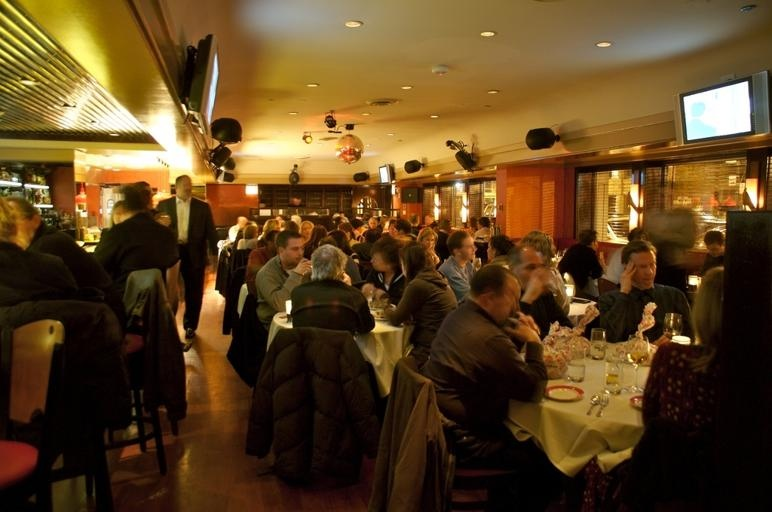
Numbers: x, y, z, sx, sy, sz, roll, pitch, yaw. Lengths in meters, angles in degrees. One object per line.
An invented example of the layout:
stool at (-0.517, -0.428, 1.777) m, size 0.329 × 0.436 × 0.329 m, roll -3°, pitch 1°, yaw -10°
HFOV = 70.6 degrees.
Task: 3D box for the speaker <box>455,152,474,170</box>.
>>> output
speaker at (1.610, -1.894, 10.853) m, size 0.362 × 0.430 × 0.457 m, roll 11°, pitch 18°, yaw 42°

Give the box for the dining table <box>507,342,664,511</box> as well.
dining table at (1.188, 0.927, 3.206) m, size 0.690 × 0.343 × 0.797 m, roll 11°, pitch 19°, yaw 41°

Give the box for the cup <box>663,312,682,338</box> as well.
cup at (1.918, 0.456, 3.644) m, size 0.104 × 0.159 × 0.155 m, roll 5°, pitch 15°, yaw 27°

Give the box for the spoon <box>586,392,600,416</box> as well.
spoon at (1.158, 0.825, 3.038) m, size 0.044 × 0.044 × 0.257 m, roll 27°, pitch 20°, yaw 11°

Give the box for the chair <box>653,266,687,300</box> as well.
chair at (2.621, 0.247, 5.033) m, size 0.175 × 0.176 × 0.321 m, roll 18°, pitch 8°, yaw -15°

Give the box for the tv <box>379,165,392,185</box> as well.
tv at (-0.015, -2.422, 16.160) m, size 0.345 × 0.577 × 0.676 m, roll -3°, pitch -3°, yaw -13°

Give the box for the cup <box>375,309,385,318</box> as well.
cup at (-0.056, 0.513, 4.841) m, size 0.061 × 0.036 × 0.082 m, roll -1°, pitch 2°, yaw 6°

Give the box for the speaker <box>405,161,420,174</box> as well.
speaker at (0.649, -2.237, 13.508) m, size 0.358 × 0.270 × 0.265 m, roll -3°, pitch -37°, yaw -9°

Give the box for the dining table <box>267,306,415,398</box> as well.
dining table at (-0.139, 0.753, 4.745) m, size 0.797 × 0.591 × 0.818 m, roll 1°, pitch -1°, yaw 6°

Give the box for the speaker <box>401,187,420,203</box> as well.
speaker at (0.717, -1.782, 16.187) m, size 0.687 × 0.505 × 0.386 m, roll 0°, pitch -4°, yaw 2°

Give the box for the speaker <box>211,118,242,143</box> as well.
speaker at (-2.104, -1.666, 7.291) m, size 0.373 × 0.281 × 0.365 m, roll -6°, pitch 19°, yaw -39°

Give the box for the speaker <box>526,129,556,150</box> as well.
speaker at (2.454, -1.836, 8.515) m, size 0.502 × 0.306 × 0.347 m, roll -2°, pitch 14°, yaw -2°
